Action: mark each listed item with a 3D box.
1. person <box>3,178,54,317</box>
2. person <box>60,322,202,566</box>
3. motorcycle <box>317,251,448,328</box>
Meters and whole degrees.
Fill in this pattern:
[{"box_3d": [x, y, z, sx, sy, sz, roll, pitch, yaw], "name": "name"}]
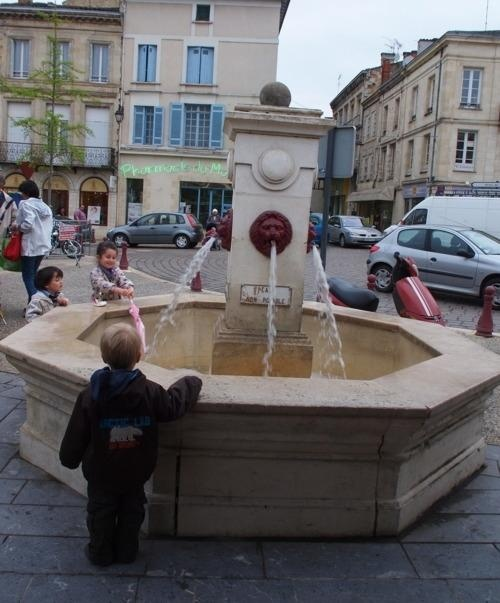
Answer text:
[{"box_3d": [-2.847, -0.708, 7.152, 0.521, 1.685, 0.581, 4, 3, -7], "name": "person"}, {"box_3d": [-0.451, 0.540, 2.136, 0.523, 0.895, 0.256, 1, 8, -20], "name": "person"}, {"box_3d": [1.611, 0.018, 6.996, 1.618, 1.071, 0.723, 7, -5, 37], "name": "motorcycle"}]
